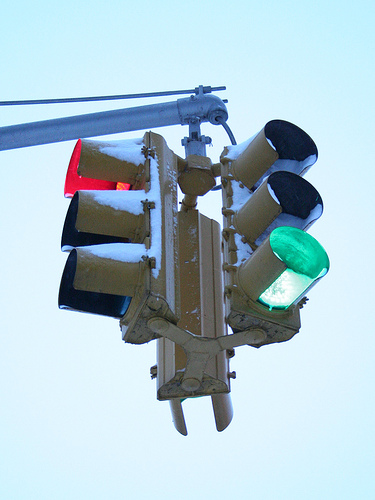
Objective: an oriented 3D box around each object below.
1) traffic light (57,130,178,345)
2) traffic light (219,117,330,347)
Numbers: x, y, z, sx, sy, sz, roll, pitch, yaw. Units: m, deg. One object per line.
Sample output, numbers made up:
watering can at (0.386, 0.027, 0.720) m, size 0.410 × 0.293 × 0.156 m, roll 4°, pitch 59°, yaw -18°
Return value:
traffic light at (-0.462, -0.093, 7.983) m, size 0.649 × 1.282 × 0.694 m, roll -4°, pitch -33°, yaw 2°
traffic light at (0.538, -0.228, 8.056) m, size 0.482 × 1.686 × 0.878 m, roll 21°, pitch -50°, yaw -20°
